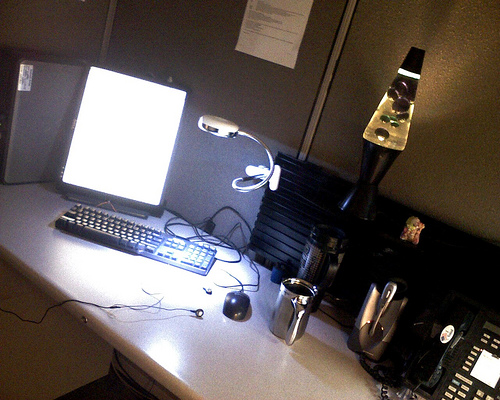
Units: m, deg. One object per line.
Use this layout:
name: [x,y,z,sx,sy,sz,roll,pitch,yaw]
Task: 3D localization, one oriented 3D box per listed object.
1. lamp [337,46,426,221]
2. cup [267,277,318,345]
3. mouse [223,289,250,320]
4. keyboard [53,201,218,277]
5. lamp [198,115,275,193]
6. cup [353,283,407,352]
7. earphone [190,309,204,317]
lamp: [0.377,-0.192,1.208,0.113,0.405,0.103,18,10,8]
cup: [0.121,0.351,1.278,0.100,0.178,0.180,15,22,-2]
mouse: [-0.042,0.328,1.342,0.060,0.068,0.086,20,0,0]
keyboard: [-0.396,0.133,1.482,0.566,0.069,0.119,19,11,0]
lamp: [-0.038,-0.126,1.444,0.236,0.241,0.280,21,11,15]
cup: [0.375,0.361,1.280,0.114,0.229,0.097,16,-22,30]
earphone: [-0.154,0.335,1.277,0.030,0.010,0.017,12,45,13]
